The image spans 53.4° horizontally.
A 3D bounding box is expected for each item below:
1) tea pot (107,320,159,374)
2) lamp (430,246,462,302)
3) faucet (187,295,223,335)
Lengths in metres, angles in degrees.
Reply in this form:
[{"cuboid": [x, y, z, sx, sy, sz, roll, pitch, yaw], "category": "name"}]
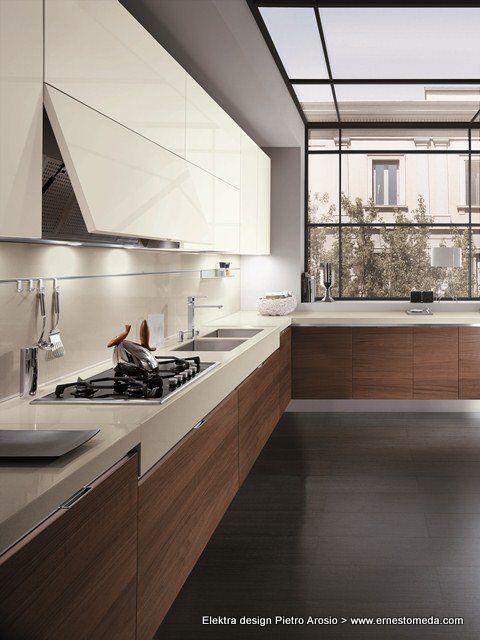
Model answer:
[{"cuboid": [-0.424, 0.101, 1.910, 0.180, 0.225, 0.133, 5, -1, 0], "category": "tea pot"}, {"cuboid": [2.278, -0.530, 5.311, 0.380, 0.377, 0.440, 1, 0, 11], "category": "lamp"}, {"cuboid": [-0.258, -0.043, 3.455, 0.246, 0.323, 0.106, 4, 37, -3], "category": "faucet"}]
